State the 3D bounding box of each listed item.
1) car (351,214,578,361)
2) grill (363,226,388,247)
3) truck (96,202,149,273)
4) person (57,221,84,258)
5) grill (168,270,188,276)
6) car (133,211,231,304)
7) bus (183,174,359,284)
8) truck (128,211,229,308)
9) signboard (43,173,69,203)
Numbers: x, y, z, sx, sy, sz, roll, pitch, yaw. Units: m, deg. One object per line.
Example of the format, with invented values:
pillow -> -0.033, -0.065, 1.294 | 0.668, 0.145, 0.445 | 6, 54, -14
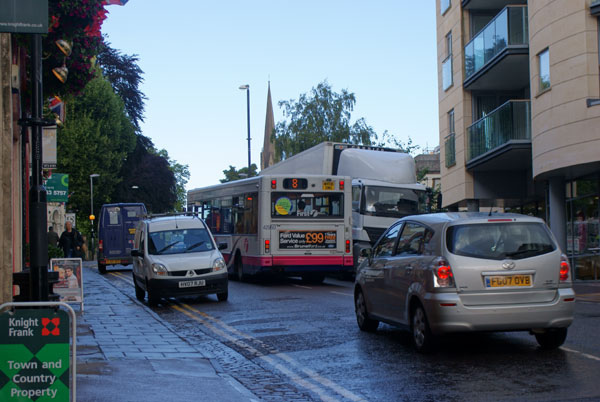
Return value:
car -> 2.686, 1.340, 10.799 | 3.400, 2.319, 1.889 | -4, -3, 23
grill -> 2.675, 1.221, 23.289 | 0.792, 0.683, 0.324 | 0, -3, -37
truck -> -10.049, 1.945, 34.872 | 3.094, 3.548, 6.277 | 0, -5, -7
person -> -8.395, 1.390, 23.752 | 0.795, 1.300, 1.665 | -1, -4, -20
grill -> -3.254, 1.917, 17.303 | 0.491, 0.136, 0.052 | -2, -2, -6
car -> -3.605, 1.606, 18.736 | 1.738, 1.631, 3.145 | -2, -6, -16
bus -> -1.009, 1.039, 23.850 | 3.097, 4.059, 6.257 | -1, -4, -33
truck -> -3.572, 1.615, 18.841 | 1.855, 1.791, 3.319 | -1, -6, -16
signboard -> -7.959, -0.464, 21.488 | 0.989, 0.980, 0.594 | 2, 1, 1
